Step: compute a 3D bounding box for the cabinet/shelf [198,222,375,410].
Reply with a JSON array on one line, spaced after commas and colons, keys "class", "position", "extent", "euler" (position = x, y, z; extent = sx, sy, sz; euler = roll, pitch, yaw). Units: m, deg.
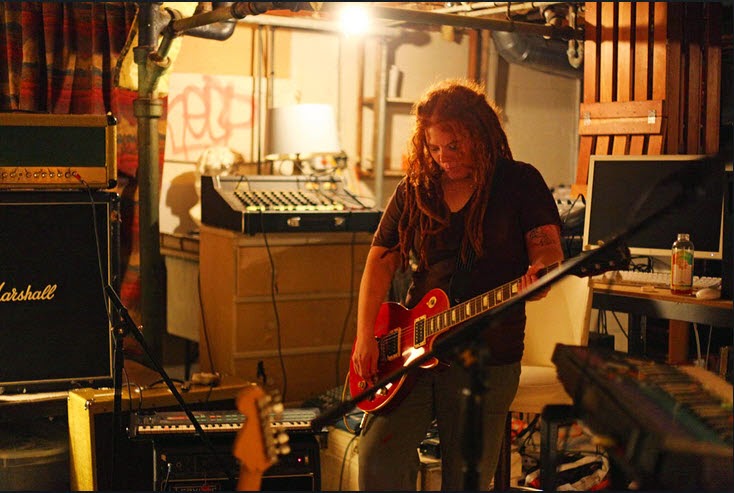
[{"class": "cabinet/shelf", "position": [-0.492, 0.464, 4.682], "extent": [0.858, 1.036, 0.550], "euler": [1, 1, -33]}]

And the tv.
[{"class": "tv", "position": [1.239, -0.149, 3.343], "extent": [0.029, 0.457, 0.646], "euler": [9, -8, -39]}]

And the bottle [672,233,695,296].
[{"class": "bottle", "position": [1.673, 0.084, 4.094], "extent": [0.113, 0.310, 0.171], "euler": [3, 4, 23]}]

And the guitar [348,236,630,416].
[{"class": "guitar", "position": [0.316, 0.322, 2.610], "extent": [0.704, 0.695, 1.323], "euler": [1, 3, -3]}]

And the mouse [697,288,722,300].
[{"class": "mouse", "position": [1.751, 0.233, 3.944], "extent": [0.083, 0.044, 0.063], "euler": [-4, 0, -24]}]
